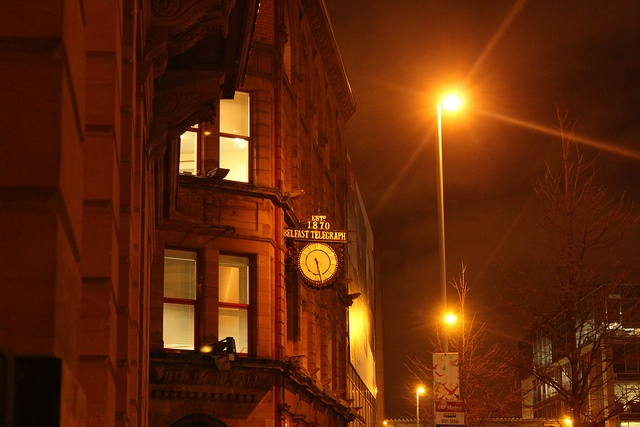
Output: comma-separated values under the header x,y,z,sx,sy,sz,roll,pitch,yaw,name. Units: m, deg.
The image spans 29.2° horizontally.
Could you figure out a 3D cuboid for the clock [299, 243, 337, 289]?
x,y,z,sx,sy,sz,roll,pitch,yaw,name
-0.104,1.575,39.733,1.406,0.062,1.631,5,-68,-2,clock
